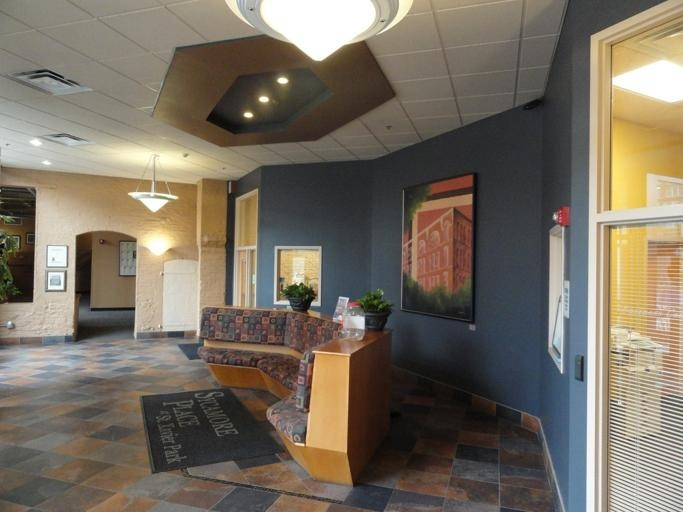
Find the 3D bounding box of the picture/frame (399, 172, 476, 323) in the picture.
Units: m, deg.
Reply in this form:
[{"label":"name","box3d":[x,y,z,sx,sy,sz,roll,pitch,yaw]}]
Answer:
[{"label":"picture/frame","box3d":[1.482,-0.137,6.880,0.149,2.074,1.413,-1,4,-34]}]

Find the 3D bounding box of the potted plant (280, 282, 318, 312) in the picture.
[{"label":"potted plant","box3d":[-0.655,0.614,7.219,0.495,0.363,0.486,1,-1,-28]}]

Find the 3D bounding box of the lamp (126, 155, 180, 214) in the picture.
[{"label":"lamp","box3d":[-3.665,-1.502,9.107,0.827,1.059,0.818,2,17,-17]}]

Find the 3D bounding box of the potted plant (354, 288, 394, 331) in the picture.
[{"label":"potted plant","box3d":[0.470,0.653,5.648,0.467,0.451,0.464,-2,-4,22]}]
